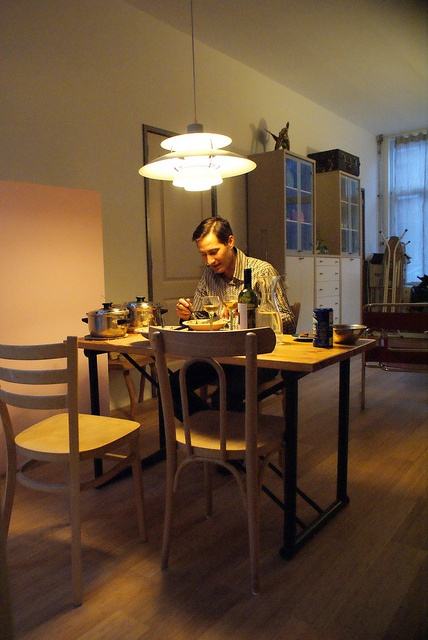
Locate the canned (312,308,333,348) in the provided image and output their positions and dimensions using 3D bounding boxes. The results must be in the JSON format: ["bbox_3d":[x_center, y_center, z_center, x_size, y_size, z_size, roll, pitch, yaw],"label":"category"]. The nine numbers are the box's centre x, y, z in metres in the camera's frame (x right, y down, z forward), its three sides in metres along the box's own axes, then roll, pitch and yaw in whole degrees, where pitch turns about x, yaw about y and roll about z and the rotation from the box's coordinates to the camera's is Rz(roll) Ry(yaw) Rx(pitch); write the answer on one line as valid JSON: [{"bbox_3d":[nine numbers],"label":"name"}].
[{"bbox_3d":[0.380,0.024,1.744,0.066,0.128,0.142,-1,5,12],"label":"canned"}]

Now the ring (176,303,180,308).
[{"bbox_3d":[-0.150,-0.060,2.111,0.003,0.028,0.033,-3,5,-17],"label":"ring"}]

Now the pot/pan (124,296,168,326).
[{"bbox_3d":[-0.298,-0.048,2.187,0.130,0.103,0.133,-2,4,-10],"label":"pot/pan"}]

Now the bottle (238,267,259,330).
[{"bbox_3d":[0.114,-0.074,1.692,0.068,0.198,0.119,-1,5,4],"label":"bottle"}]

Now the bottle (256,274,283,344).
[{"bbox_3d":[0.190,-0.030,1.772,0.105,0.257,0.108,2,11,0],"label":"bottle"}]

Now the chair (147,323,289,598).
[{"bbox_3d":[0.037,0.392,1.572,0.372,0.739,0.399,1,5,22],"label":"chair"}]

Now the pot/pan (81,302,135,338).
[{"bbox_3d":[-0.410,0.012,2.005,0.171,0.104,0.111,2,9,16],"label":"pot/pan"}]

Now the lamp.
[{"bbox_3d":[-0.074,-0.549,1.730,0.303,0.160,0.319,1,8,20],"label":"lamp"}]
